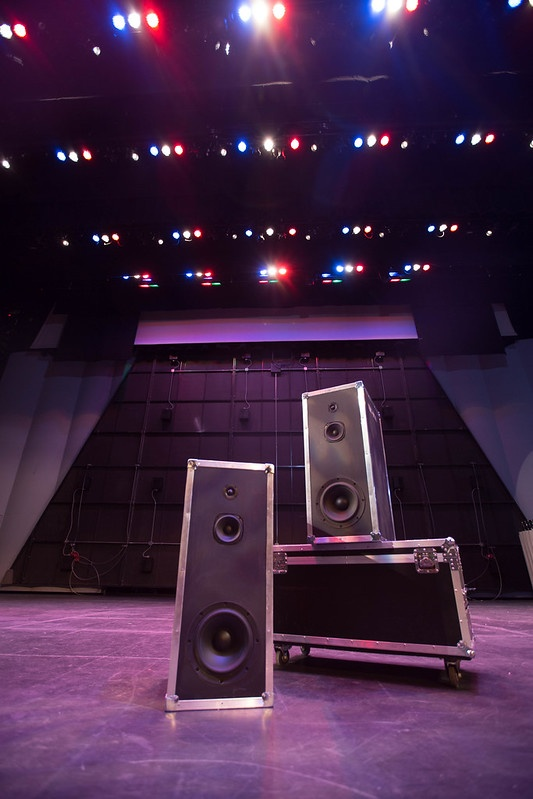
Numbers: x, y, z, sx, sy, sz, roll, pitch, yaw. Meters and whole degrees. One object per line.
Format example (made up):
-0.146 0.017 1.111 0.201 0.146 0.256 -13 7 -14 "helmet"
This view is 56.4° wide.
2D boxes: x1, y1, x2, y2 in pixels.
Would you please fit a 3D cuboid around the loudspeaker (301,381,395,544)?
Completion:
0.432 0.360 2.869 0.436 0.920 0.343 -2 -33 7 "loudspeaker"

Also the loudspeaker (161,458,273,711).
-0.159 0.727 2.020 0.402 0.961 0.277 3 -32 1 "loudspeaker"
